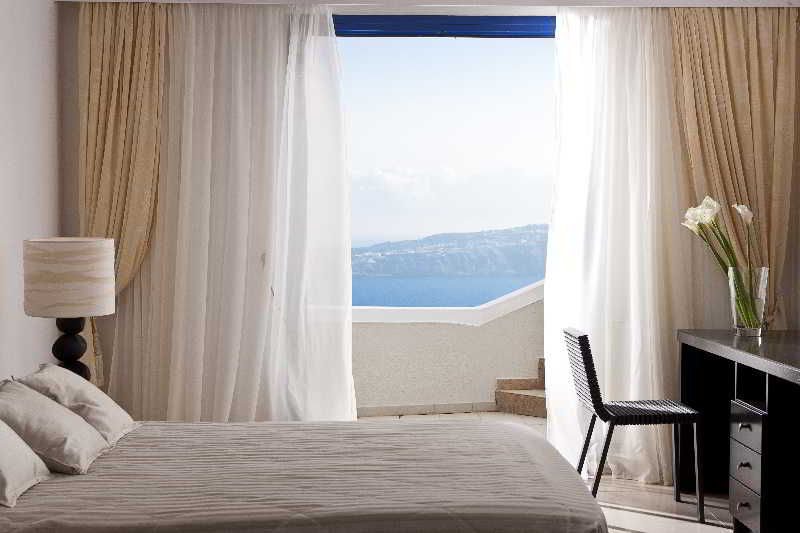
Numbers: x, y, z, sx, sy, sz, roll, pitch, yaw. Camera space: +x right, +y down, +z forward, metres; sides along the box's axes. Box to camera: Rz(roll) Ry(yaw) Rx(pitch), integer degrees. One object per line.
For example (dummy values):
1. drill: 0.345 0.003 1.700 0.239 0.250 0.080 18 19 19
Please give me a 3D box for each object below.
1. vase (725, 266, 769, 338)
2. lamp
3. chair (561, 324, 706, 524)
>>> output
1. vase: 2.330 0.234 4.567 0.229 0.459 0.107 0 3 10
2. lamp: -2.139 0.287 4.415 0.519 0.938 0.352 -2 3 -30
3. chair: 1.577 1.031 4.571 0.845 1.090 0.769 -1 -1 -4
